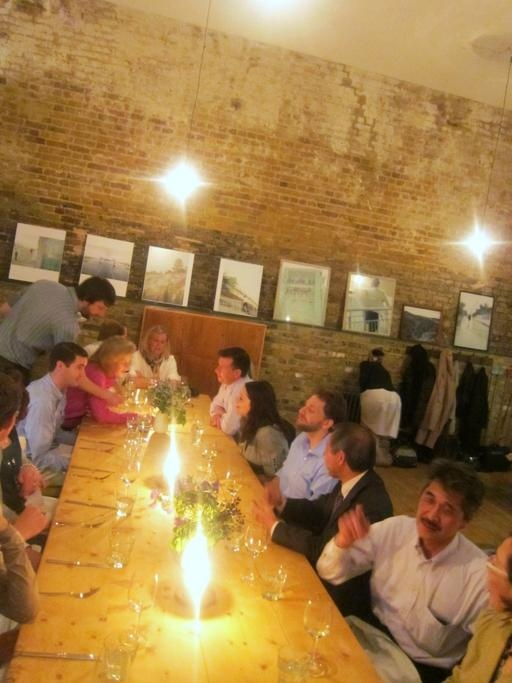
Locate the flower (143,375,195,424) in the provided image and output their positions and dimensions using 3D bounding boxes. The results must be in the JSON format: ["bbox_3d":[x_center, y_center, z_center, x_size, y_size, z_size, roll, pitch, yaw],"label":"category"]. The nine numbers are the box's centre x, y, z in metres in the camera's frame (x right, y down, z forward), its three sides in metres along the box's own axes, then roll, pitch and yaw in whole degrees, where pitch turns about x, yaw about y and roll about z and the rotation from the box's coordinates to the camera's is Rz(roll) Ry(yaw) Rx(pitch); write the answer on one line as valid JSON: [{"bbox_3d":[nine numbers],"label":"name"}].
[{"bbox_3d":[-0.696,0.455,3.888,0.348,0.361,0.325,-1,3,-7],"label":"flower"}]

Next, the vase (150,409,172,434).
[{"bbox_3d":[-0.701,0.599,3.600,0.127,0.133,0.134,4,-4,1],"label":"vase"}]
